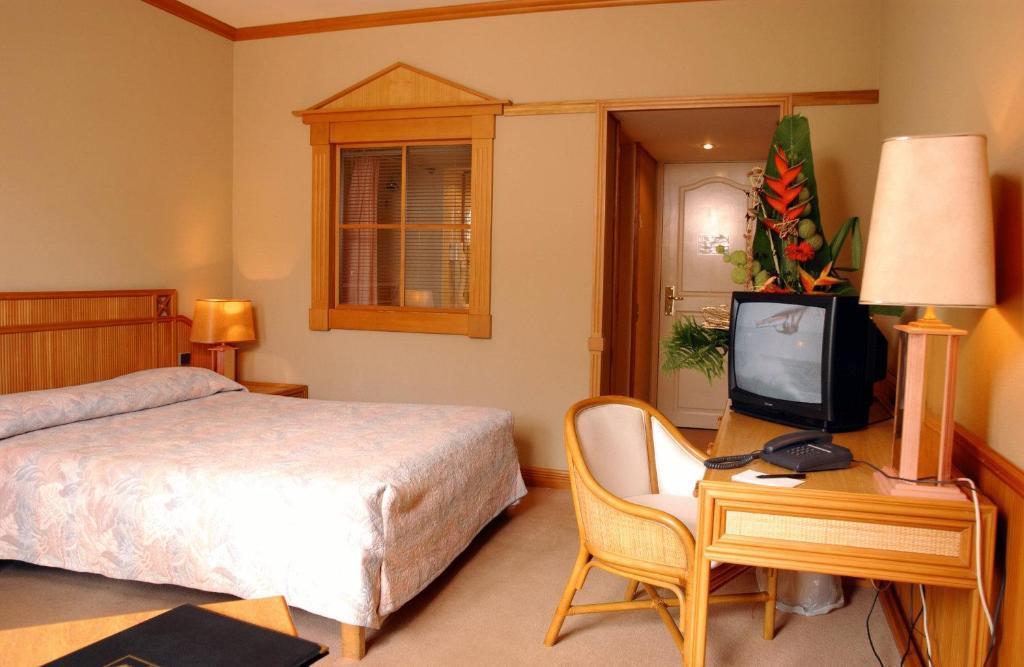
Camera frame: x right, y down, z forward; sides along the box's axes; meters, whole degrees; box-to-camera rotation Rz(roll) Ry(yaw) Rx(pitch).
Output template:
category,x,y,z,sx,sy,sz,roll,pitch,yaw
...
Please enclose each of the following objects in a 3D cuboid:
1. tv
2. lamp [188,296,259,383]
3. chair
category,x,y,z,sx,sy,sz,roll,pitch,yaw
tv,1.228,0.110,3.712,0.752,0.639,0.778,2,-2,2
lamp,-2.202,0.055,5.447,0.501,0.643,0.487,1,6,-6
chair,0.747,0.918,3.433,1.028,1.092,1.041,-2,3,-24
